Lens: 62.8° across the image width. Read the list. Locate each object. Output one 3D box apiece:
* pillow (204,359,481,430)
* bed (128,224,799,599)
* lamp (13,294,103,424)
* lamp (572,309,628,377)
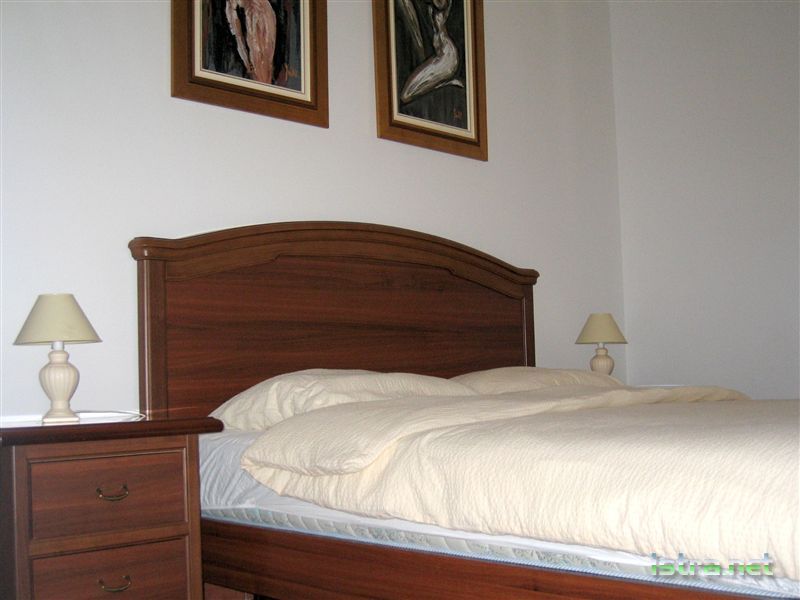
[{"bbox_3d":[-0.305,0.371,2.605,0.693,0.151,0.742,1,2,15],"label":"pillow"},{"bbox_3d":[-0.151,0.254,2.676,1.543,0.879,1.602,-4,-4,40],"label":"bed"},{"bbox_3d":[-1.100,0.178,2.140,0.216,0.431,0.263,5,-8,-44],"label":"lamp"},{"bbox_3d":[1.241,0.292,4.044,0.328,0.408,0.294,-6,-4,28],"label":"lamp"}]
